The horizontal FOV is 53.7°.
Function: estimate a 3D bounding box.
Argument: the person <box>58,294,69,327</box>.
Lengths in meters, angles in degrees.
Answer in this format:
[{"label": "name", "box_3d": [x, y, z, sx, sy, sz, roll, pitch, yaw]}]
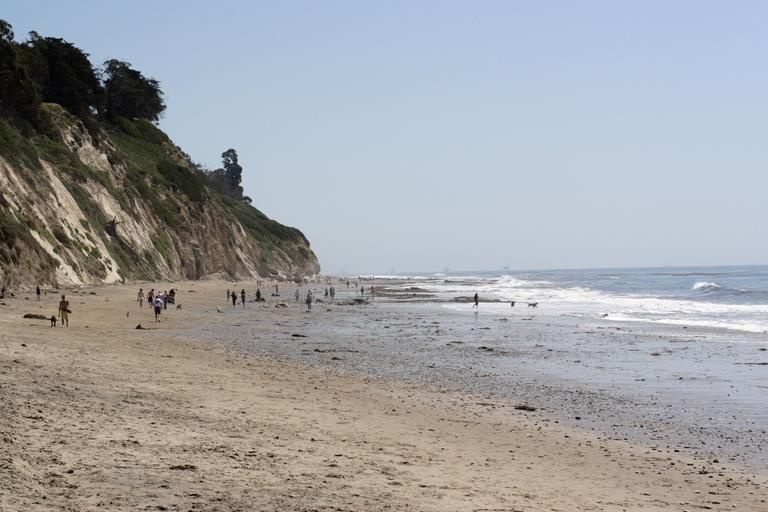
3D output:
[{"label": "person", "box_3d": [-14.303, 2.403, 33.891, 0.391, 1.200, 1.316, 4, -2, -20]}]
